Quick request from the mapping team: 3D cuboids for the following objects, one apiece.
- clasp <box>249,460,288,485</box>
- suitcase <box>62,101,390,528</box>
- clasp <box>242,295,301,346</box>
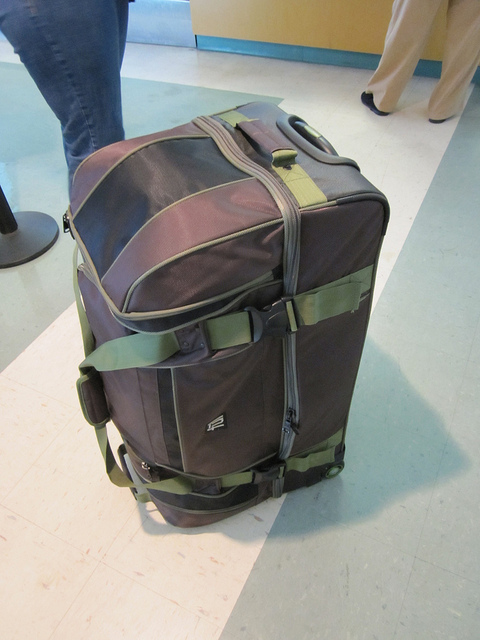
[{"bbox_3d":[0.057,0.309,1.149,0.068,0.025,0.048,-5,8,-5],"label":"clasp"},{"bbox_3d":[-0.064,0.026,1.122,0.547,0.719,0.481,-12,39,-17],"label":"suitcase"},{"bbox_3d":[0.053,0.000,0.867,0.104,0.093,0.024,-23,45,-20],"label":"clasp"}]
